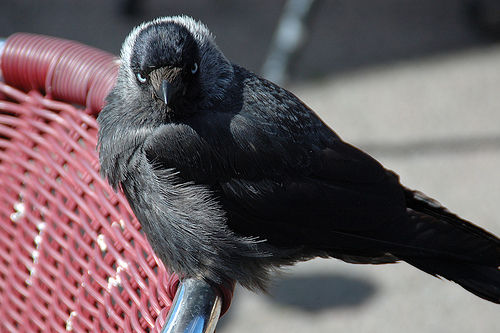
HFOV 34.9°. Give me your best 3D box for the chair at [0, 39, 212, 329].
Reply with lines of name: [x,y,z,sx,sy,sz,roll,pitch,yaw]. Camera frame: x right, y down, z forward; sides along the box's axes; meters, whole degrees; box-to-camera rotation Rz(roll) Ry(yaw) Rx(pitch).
chair: [-1.158,0.326,5.443,1.530,1.678,1.776,-9,-19,-6]
